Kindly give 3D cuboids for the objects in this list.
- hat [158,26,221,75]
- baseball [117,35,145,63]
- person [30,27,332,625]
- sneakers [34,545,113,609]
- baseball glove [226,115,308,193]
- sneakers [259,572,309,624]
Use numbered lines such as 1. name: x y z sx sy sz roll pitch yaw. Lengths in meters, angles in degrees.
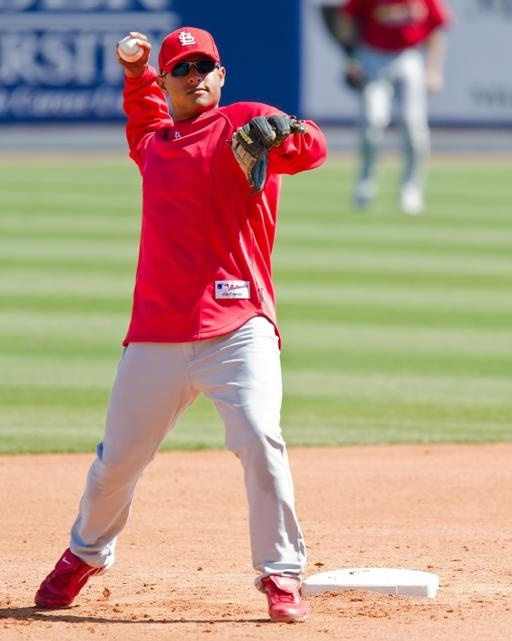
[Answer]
1. hat: -0.197 -0.756 2.973 0.140 0.081 0.171 -8 -4 -7
2. baseball: -0.358 -0.809 3.214 0.088 0.072 0.085 4 18 3
3. person: -0.117 0.025 3.005 0.764 1.647 0.754 7 14 8
4. sneakers: -0.505 0.694 3.051 0.100 0.100 0.254 30 36 14
5. baseball glove: 0.017 -0.434 2.750 0.112 0.147 0.204 -35 4 24
6. sneakers: 0.082 0.711 2.812 0.089 0.064 0.174 -7 21 -20
